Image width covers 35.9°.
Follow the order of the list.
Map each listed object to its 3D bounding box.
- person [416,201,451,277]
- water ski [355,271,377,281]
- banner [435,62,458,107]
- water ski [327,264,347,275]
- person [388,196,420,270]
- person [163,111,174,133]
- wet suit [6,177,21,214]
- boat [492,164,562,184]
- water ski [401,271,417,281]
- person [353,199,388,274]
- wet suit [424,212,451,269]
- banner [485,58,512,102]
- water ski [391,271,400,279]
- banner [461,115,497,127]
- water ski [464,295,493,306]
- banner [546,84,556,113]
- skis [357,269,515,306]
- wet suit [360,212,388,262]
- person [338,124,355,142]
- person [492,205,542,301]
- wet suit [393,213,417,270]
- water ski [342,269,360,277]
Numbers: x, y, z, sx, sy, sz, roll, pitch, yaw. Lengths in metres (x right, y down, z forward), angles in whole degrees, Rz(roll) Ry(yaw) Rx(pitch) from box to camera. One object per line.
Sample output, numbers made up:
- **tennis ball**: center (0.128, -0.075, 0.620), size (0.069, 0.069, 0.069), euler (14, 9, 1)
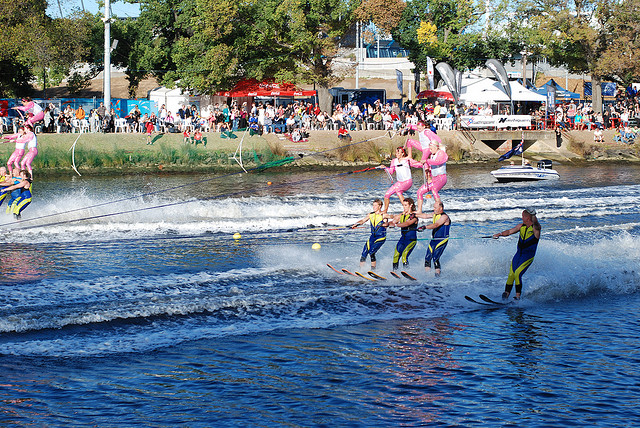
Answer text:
- **person**: center (3.437, 0.739, 29.863), size (0.863, 2.296, 1.478), euler (0, 8, 7)
- **water ski**: center (1.335, 1.847, 29.564), size (0.733, 0.159, 0.143), euler (23, 52, 23)
- **banner**: center (7.634, -7.769, 57.701), size (1.106, 2.428, 0.469), euler (-27, -17, 33)
- **water ski**: center (0.506, 1.656, 29.892), size (0.476, 0.098, 0.290), euler (32, -13, -12)
- **person**: center (2.472, 0.621, 29.609), size (0.871, 2.173, 0.636), euler (-1, 8, 3)
- **person**: center (-8.189, -4.958, 53.728), size (0.575, 1.063, 1.061), euler (-3, 8, -9)
- **wet suit**: center (-10.752, -0.653, 34.809), size (0.689, 1.285, 0.367), euler (6, 11, 42)
- **boat**: center (9.886, -1.878, 47.763), size (3.692, 0.749, 1.071), euler (2, 0, -11)
- **water ski**: center (2.612, 1.816, 29.462), size (0.329, 0.068, 0.302), euler (21, -22, 22)
- **person**: center (1.581, 0.636, 29.977), size (0.914, 2.176, 1.366), euler (-1, 8, 2)
- **wet suit**: center (3.488, 0.966, 29.709), size (0.699, 1.398, 0.391), euler (6, 11, 40)
- **banner**: center (11.032, -8.150, 59.670), size (0.921, 2.853, 0.141), euler (-34, 1, 26)
- **water ski**: center (2.232, 1.819, 29.601), size (0.255, 0.198, 0.215), euler (-2, 7, -7)
- **banner**: center (9.251, -5.444, 57.718), size (2.497, 0.667, 0.270), euler (-4, 9, -28)
- **water ski**: center (4.532, 2.495, 28.432), size (0.124, 0.109, 0.844), euler (-13, 22, -39)
- **banner**: center (14.256, -7.063, 61.331), size (0.577, 1.589, 1.792), euler (0, 8, 12)
- **skis**: center (3.291, 2.202, 29.076), size (2.679, 0.258, 0.187), euler (18, 47, 15)
- **wet suit**: center (1.633, 0.689, 29.808), size (0.820, 1.544, 0.457), euler (1, 9, 18)
- **person**: center (1.273, -4.367, 54.766), size (0.640, 0.875, 0.369), euler (-31, 9, -30)
- **person**: center (5.759, 1.170, 28.674), size (1.103, 2.655, 0.924), euler (0, 8, 11)
- **wet suit**: center (2.549, 0.972, 29.707), size (0.559, 1.459, 0.675), euler (-6, 9, -29)
- **water ski**: center (0.888, 1.769, 29.910), size (0.402, 0.074, 0.197), euler (21, -11, -18)
